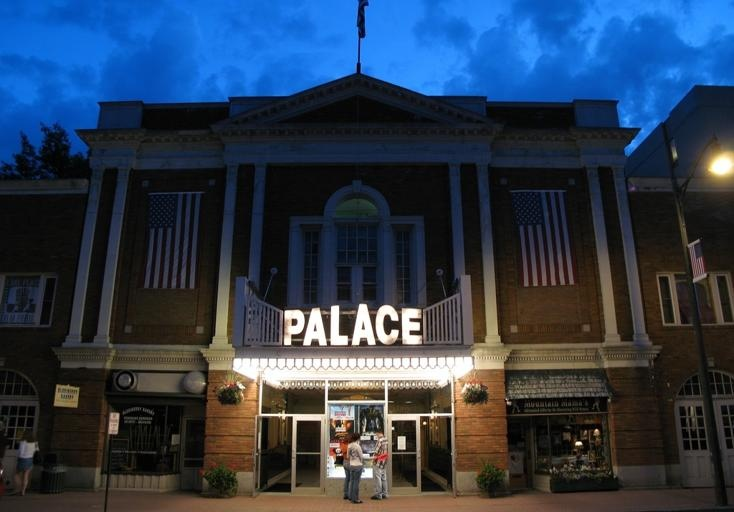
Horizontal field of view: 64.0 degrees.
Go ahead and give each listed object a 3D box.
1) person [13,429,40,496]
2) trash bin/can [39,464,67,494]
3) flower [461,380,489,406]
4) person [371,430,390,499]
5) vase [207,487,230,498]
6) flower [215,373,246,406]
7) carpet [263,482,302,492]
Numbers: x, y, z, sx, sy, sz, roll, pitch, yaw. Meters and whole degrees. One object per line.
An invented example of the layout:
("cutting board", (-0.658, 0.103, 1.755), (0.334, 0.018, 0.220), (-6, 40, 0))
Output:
("person", (-13.672, 8.263, 23.491), (0.640, 2.437, 1.173), (7, -19, -23))
("trash bin/can", (-12.879, 9.242, 24.289), (1.046, 1.060, 1.038), (10, -22, -28))
("flower", (4.367, 5.688, 24.292), (0.908, 0.606, 0.904), (-1, 3, -27))
("person", (0.473, 8.369, 23.488), (0.664, 2.543, 1.180), (-1, -17, 1))
("vase", (-6.048, 9.557, 23.720), (0.901, 0.353, 0.349), (-8, -19, 23))
("flower", (-5.749, 5.593, 24.583), (1.223, 1.213, 1.154), (3, -11, -13))
("carpet", (-3.949, 10.053, 25.487), (1.086, 0.272, 2.079), (3, -18, -11))
